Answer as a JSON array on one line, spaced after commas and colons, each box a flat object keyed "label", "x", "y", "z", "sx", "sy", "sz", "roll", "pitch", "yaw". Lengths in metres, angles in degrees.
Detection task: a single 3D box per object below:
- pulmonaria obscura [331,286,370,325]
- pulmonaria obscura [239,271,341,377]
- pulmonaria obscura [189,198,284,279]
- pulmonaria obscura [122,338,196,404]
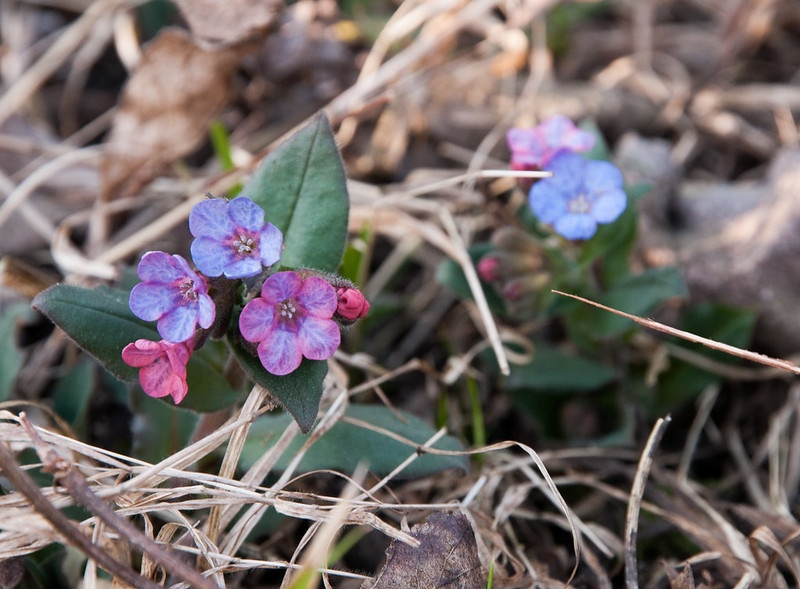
[{"label": "pulmonaria obscura", "x": -0.141, "y": 0.017, "z": 2.239, "sx": 0.113, "sy": 0.096, "sz": 0.073, "roll": 8, "pitch": 87, "yaw": 43}, {"label": "pulmonaria obscura", "x": -0.285, "y": 0.066, "z": 2.124, "sx": 0.262, "sy": 0.181, "sz": 0.194, "roll": -23, "pitch": 62, "yaw": -4}, {"label": "pulmonaria obscura", "x": -0.429, "y": -0.153, "z": 2.115, "sx": 0.245, "sy": 0.096, "sz": 0.218, "roll": -1, "pitch": 63, "yaw": 7}, {"label": "pulmonaria obscura", "x": -0.637, "y": 0.190, "z": 2.158, "sx": 0.167, "sy": 0.070, "sz": 0.172, "roll": 31, "pitch": 95, "yaw": 5}]
